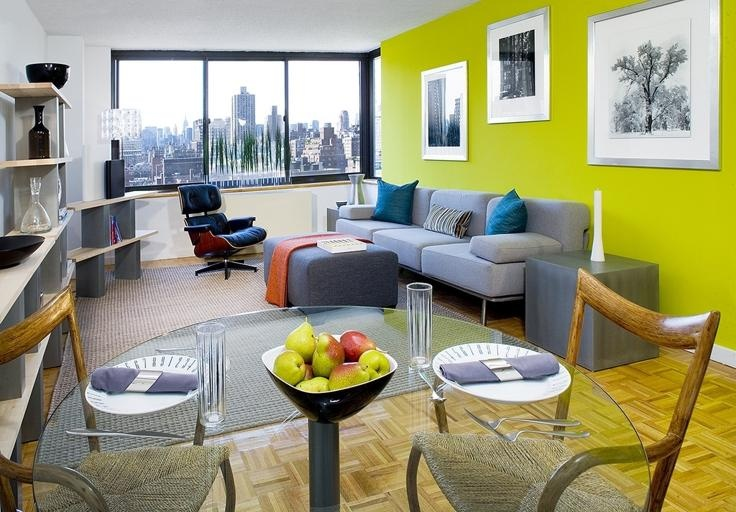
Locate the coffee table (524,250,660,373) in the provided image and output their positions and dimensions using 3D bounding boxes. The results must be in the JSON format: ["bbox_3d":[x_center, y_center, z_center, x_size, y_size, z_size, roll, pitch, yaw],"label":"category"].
[{"bbox_3d":[1.639,0.249,3.873,0.872,0.890,0.917,-3,5,-30],"label":"coffee table"}]

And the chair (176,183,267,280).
[{"bbox_3d":[-1.795,-0.420,6.327,1.122,1.339,1.111,6,9,31],"label":"chair"}]

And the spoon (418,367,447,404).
[{"bbox_3d":[0.210,0.418,1.617,0.059,0.032,0.186,2,11,-6],"label":"spoon"}]

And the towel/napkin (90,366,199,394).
[{"bbox_3d":[-0.698,0.386,1.565,0.295,0.068,0.091,5,5,-1],"label":"towel/napkin"}]

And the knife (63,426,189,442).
[{"bbox_3d":[-0.661,0.485,1.378,0.249,0.013,0.040,1,3,1],"label":"knife"}]

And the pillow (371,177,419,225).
[{"bbox_3d":[0.359,-0.666,6.276,0.664,0.624,0.257,6,-7,36],"label":"pillow"}]

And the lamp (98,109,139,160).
[{"bbox_3d":[-2.973,-1.448,6.022,0.458,0.614,1.642,-8,16,-26],"label":"lamp"}]

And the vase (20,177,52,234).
[{"bbox_3d":[-2.243,-0.341,3.361,0.168,0.369,0.389,-9,17,-31],"label":"vase"}]

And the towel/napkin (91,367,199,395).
[{"bbox_3d":[-0.697,0.387,1.560,0.292,0.067,0.089,5,4,0],"label":"towel/napkin"}]

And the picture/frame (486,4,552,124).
[{"bbox_3d":[1.483,-1.825,4.945,0.148,1.004,0.901,-6,16,-21],"label":"picture/frame"}]

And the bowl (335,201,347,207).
[{"bbox_3d":[-0.394,-0.763,7.437,0.123,0.065,0.122,-1,5,0],"label":"bowl"}]
